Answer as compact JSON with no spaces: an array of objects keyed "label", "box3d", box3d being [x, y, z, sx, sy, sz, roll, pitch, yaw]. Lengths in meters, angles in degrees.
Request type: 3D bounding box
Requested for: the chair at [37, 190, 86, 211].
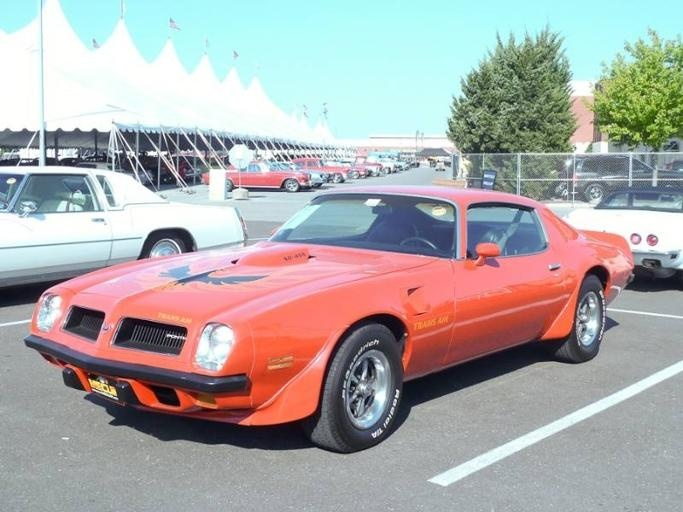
[{"label":"chair","box3d":[-4.486,-0.875,7.919,0.418,0.405,0.411,5,4,-9]}]
